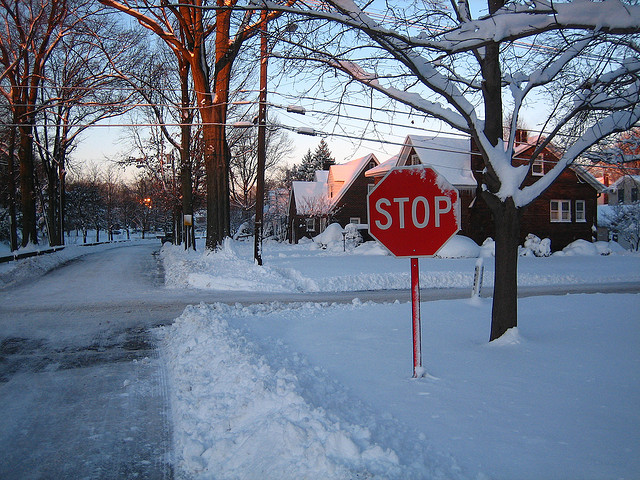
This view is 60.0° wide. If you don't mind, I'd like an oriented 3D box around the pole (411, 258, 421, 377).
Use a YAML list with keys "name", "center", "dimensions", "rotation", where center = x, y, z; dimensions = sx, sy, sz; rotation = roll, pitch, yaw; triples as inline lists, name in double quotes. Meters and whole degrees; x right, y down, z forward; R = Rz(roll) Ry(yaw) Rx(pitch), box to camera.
- name: "pole"
  center: [1.541, 1.271, 8.997]
  dimensions: [0.134, 1.947, 0.413]
  rotation: [-2, 4, 10]
